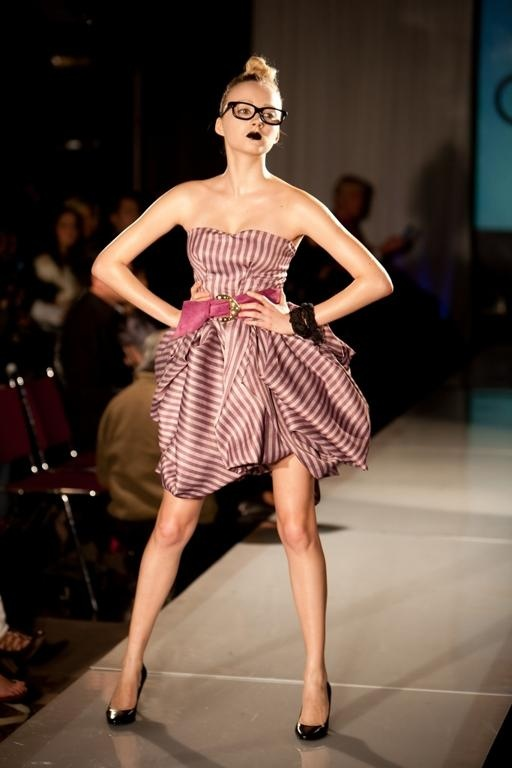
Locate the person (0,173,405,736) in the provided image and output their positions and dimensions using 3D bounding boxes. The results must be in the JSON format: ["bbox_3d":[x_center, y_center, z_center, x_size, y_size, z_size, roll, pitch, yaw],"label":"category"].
[{"bbox_3d":[-0.031,0.002,1.456,0.605,1.309,0.308,-4,2,9],"label":"person"}]
